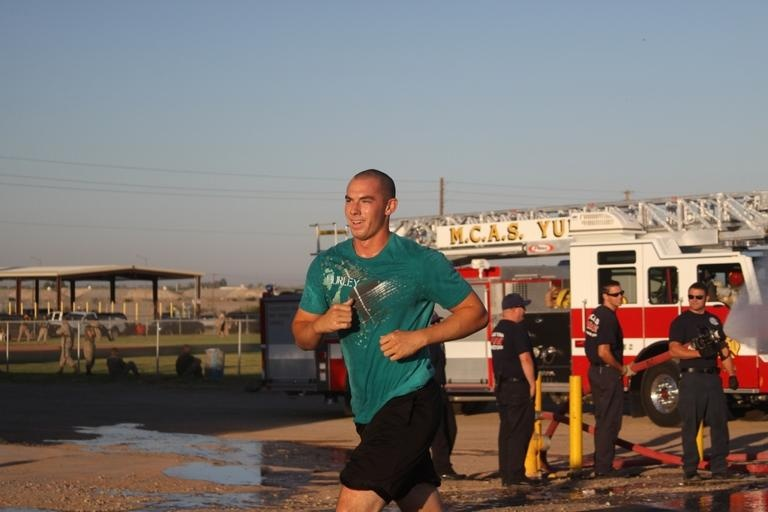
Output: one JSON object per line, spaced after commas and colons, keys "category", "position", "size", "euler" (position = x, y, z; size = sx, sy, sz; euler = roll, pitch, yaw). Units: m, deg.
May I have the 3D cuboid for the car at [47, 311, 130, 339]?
{"category": "car", "position": [-12.574, 2.933, 55.015], "size": [3.344, 1.035, 1.751], "euler": [5, -7, -37]}

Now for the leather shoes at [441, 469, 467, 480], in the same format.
{"category": "leather shoes", "position": [1.273, 3.800, 22.611], "size": [0.530, 0.186, 0.158], "euler": [-2, 1, -12]}

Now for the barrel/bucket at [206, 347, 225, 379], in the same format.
{"category": "barrel/bucket", "position": [-4.900, 3.113, 37.482], "size": [0.522, 0.847, 1.007], "euler": [-1, -3, -9]}

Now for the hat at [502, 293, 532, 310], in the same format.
{"category": "hat", "position": [2.324, 0.790, 22.733], "size": [0.462, 0.200, 0.300], "euler": [-1, 0, -17]}

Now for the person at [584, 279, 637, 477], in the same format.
{"category": "person", "position": [3.896, 2.131, 22.703], "size": [0.670, 3.373, 0.548], "euler": [-2, -4, 6]}

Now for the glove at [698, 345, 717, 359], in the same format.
{"category": "glove", "position": [5.517, 1.641, 22.163], "size": [0.366, 0.228, 0.185], "euler": [2, -11, -9]}

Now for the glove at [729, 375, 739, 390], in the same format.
{"category": "glove", "position": [6.203, 2.227, 22.985], "size": [0.237, 0.274, 0.095], "euler": [-5, -7, 5]}

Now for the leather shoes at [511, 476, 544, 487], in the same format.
{"category": "leather shoes", "position": [2.446, 3.816, 22.135], "size": [0.579, 0.201, 0.179], "euler": [-2, -2, -4]}

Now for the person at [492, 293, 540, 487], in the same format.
{"category": "person", "position": [2.249, 2.485, 22.242], "size": [0.705, 2.788, 0.397], "euler": [-2, -4, 4]}
